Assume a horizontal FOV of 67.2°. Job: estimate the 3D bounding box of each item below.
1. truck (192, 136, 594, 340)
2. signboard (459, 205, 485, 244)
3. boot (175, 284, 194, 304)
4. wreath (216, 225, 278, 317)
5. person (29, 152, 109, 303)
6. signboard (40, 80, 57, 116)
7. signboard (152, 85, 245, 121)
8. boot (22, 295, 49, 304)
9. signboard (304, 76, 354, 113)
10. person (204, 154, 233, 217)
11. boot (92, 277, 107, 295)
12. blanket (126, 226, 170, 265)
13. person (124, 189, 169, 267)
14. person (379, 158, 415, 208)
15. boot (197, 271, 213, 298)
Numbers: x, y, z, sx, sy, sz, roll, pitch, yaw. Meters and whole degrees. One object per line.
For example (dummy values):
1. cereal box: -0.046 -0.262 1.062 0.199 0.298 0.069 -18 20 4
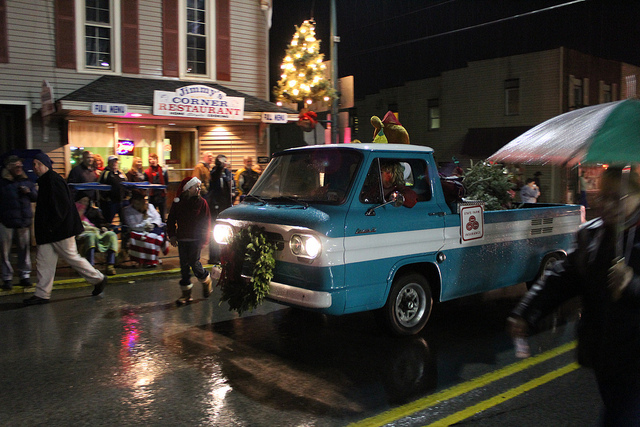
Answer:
1. truck: 1.706 0.331 8.076 6.120 2.032 3.399 1 -2 -35
2. signboard: 2.266 0.158 7.311 0.673 0.598 0.095 -3 -1 -37
3. boot: -2.364 1.447 8.709 0.240 0.365 0.443 1 -3 40
4. wreath: -1.028 0.786 6.659 0.570 1.107 1.142 6 12 -21
5. person: -4.709 0.262 8.716 1.079 2.639 0.406 -4 9 -27
6. signboard: -7.856 -3.356 13.939 0.358 1.022 1.434 -5 9 -29
7. signboard: -3.928 -3.670 15.887 3.673 1.048 0.120 8 11 21
8. boot: -5.084 1.535 8.675 0.406 0.152 0.146 9 -6 -23
9. signboard: 0.233 -4.021 16.219 1.791 0.900 0.176 -1 -2 38
10. person: -2.566 -0.585 12.492 0.620 1.729 0.558 -5 9 -21
11. boot: -4.186 1.378 9.190 0.156 0.408 0.207 14 -4 40
12. blanket: -3.954 0.779 11.810 1.012 0.838 1.493 0 -5 -4
13. person: -4.136 0.323 11.348 0.806 1.769 0.653 -3 9 -20
14. person: 1.083 -0.439 6.824 0.485 0.681 0.919 1 8 10
15. boot: -2.123 1.324 8.965 0.208 0.513 0.229 -1 8 -3
